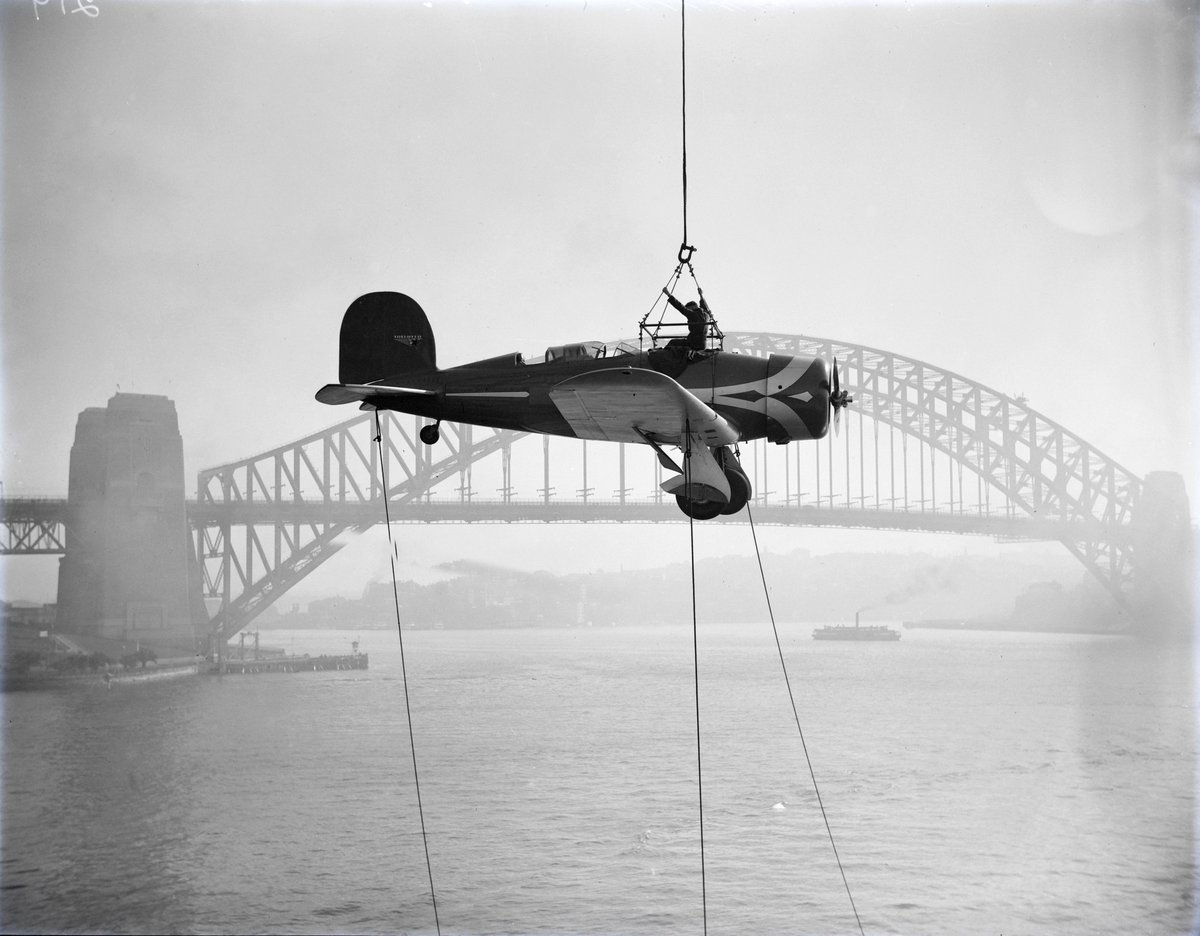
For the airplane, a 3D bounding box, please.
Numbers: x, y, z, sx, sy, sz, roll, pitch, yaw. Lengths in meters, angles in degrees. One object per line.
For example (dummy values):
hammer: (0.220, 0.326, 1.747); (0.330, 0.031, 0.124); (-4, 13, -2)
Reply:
airplane: (-0.080, -0.481, 14.499); (3.998, 1.530, 4.154); (1, -2, 15)
